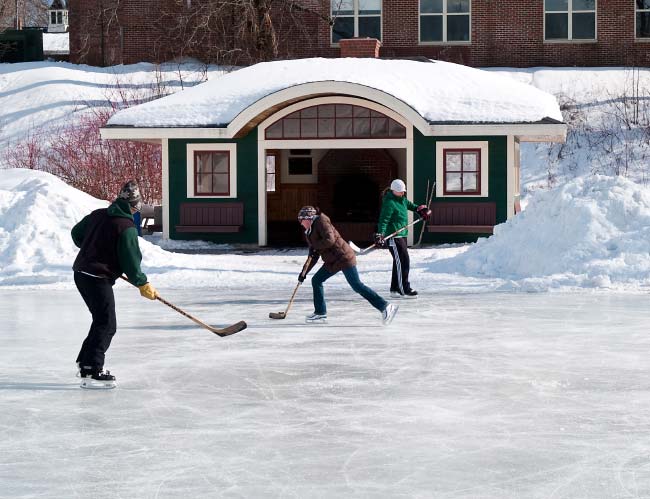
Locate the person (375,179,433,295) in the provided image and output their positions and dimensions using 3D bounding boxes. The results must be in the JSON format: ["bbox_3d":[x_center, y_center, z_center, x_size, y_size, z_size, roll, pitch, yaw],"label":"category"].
[{"bbox_3d":[1.275,-0.243,18.880,1.074,2.010,0.875,0,7,-14],"label":"person"}]

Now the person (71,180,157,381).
[{"bbox_3d":[-2.667,0.396,13.195,1.131,2.404,0.929,8,3,41],"label":"person"}]

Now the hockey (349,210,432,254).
[{"bbox_3d":[1.459,-0.361,23.724,2.207,0.554,0.326,-32,29,-34],"label":"hockey"}]

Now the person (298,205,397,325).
[{"bbox_3d":[0.195,0.202,16.342,1.237,1.783,1.506,-3,10,-10],"label":"person"}]
